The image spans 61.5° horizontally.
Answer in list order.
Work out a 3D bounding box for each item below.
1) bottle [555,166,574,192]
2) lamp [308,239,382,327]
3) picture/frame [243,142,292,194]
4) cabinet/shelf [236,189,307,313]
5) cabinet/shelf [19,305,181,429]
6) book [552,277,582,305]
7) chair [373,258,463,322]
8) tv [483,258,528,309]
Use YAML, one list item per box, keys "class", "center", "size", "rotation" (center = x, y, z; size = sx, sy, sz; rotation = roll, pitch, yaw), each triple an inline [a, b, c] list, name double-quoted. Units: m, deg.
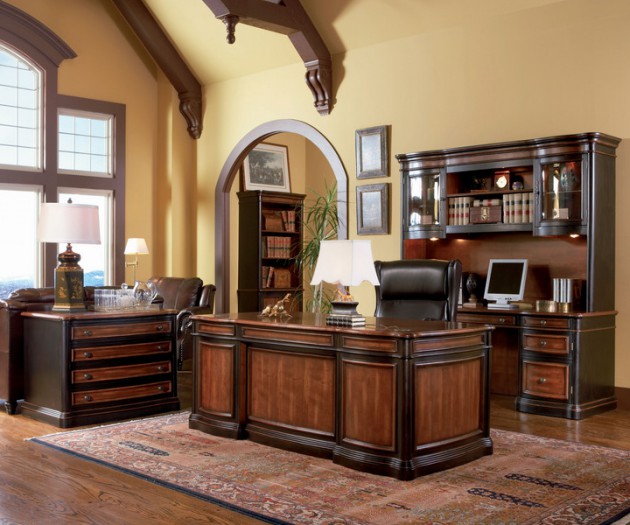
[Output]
- class: "bottle"
  center: [2.297, -0.769, 4.826]
  size: [0.037, 0.244, 0.139]
  rotation: [4, -6, -38]
- class: "lamp"
  center: [0.191, 0.128, 3.385]
  size: [0.393, 0.560, 0.415]
  rotation: [1, -5, -6]
- class: "picture/frame"
  center: [-0.846, -1.586, 8.889]
  size: [0.099, 0.873, 1.059]
  rotation: [-6, -4, 41]
- class: "cabinet/shelf"
  center: [-0.715, -0.181, 8.553]
  size: [1.083, 1.938, 0.655]
  rotation: [1, -5, -9]
- class: "cabinet/shelf"
  center: [-1.999, 0.694, 4.923]
  size: [1.504, 1.107, 0.899]
  rotation: [0, -1, -40]
- class: "book"
  center: [2.350, 0.270, 4.926]
  size: [0.207, 0.264, 0.273]
  rotation: [0, 0, -37]
- class: "chair"
  center: [0.872, 0.220, 4.415]
  size: [0.507, 0.686, 0.587]
  rotation: [-1, -3, 35]
- class: "tv"
  center: [1.956, 0.216, 5.375]
  size: [0.489, 0.612, 0.205]
  rotation: [0, -18, 47]
